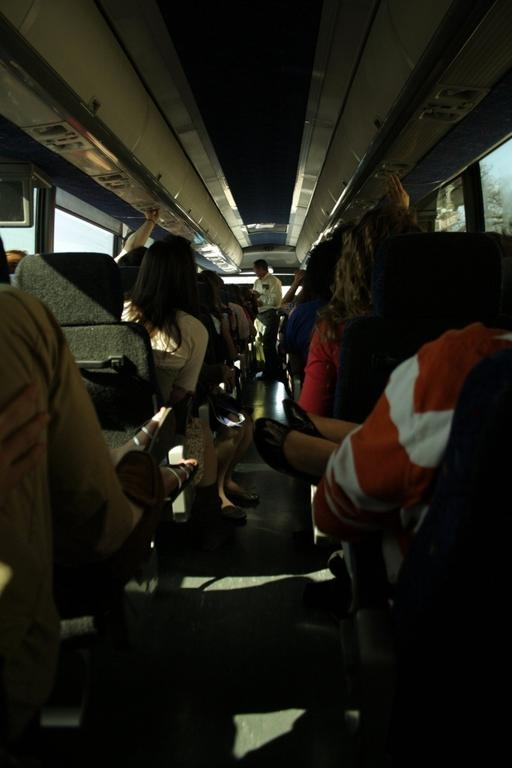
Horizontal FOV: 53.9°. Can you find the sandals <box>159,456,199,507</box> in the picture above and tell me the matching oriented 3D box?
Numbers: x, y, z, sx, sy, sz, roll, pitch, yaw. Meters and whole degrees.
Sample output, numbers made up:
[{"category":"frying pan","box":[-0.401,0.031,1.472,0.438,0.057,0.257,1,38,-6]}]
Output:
[{"category":"sandals","box":[-0.259,0.318,1.672,0.062,0.046,0.249,8,5,4]}]

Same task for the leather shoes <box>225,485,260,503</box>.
[{"category":"leather shoes","box":[-0.085,0.689,3.188,0.225,0.100,0.084,10,1,8]}]

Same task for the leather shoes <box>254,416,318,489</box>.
[{"category":"leather shoes","box":[0.082,0.205,1.581,0.121,0.183,0.232,-4,7,-27]}]

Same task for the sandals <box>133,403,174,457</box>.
[{"category":"sandals","box":[-0.401,0.174,1.942,0.059,0.208,0.079,29,3,2]}]

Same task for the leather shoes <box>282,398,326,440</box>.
[{"category":"leather shoes","box":[0.156,0.131,1.781,0.070,0.053,0.196,-17,60,-48]}]
